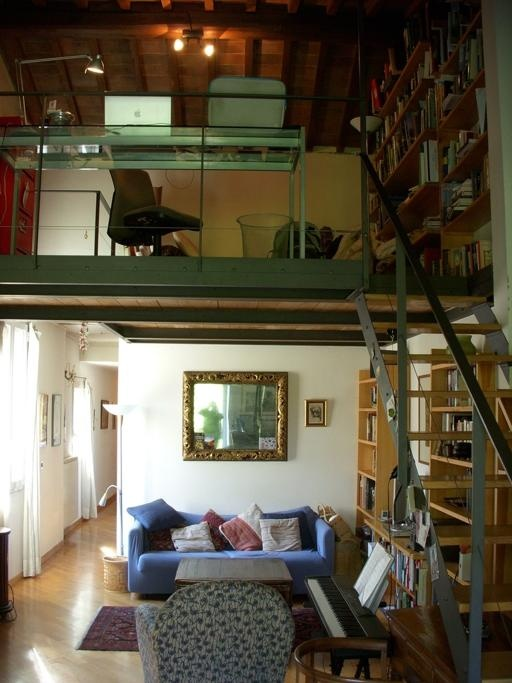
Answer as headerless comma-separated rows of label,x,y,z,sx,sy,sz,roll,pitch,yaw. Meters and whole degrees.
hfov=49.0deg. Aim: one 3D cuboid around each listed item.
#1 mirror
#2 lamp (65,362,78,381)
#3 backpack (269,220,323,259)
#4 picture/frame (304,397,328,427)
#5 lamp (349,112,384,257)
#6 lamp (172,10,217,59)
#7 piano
mirror,-0.246,0.916,6.644,1.022,0.934,0.138,0,-4,-2
lamp,-2.944,0.509,8.931,0.086,0.255,0.185,-3,-3,22
backpack,0.260,-0.604,3.442,0.211,0.242,0.302,1,-2,-6
picture/frame,0.728,0.864,6.676,0.304,0.393,0.039,0,-2,-3
lamp,1.045,-1.594,5.387,0.353,0.366,1.342,-2,-43,9
lamp,-0.652,-3.247,5.904,0.367,0.213,0.348,10,-50,13
piano,0.485,1.530,3.304,0.245,0.116,0.793,-25,-53,0
